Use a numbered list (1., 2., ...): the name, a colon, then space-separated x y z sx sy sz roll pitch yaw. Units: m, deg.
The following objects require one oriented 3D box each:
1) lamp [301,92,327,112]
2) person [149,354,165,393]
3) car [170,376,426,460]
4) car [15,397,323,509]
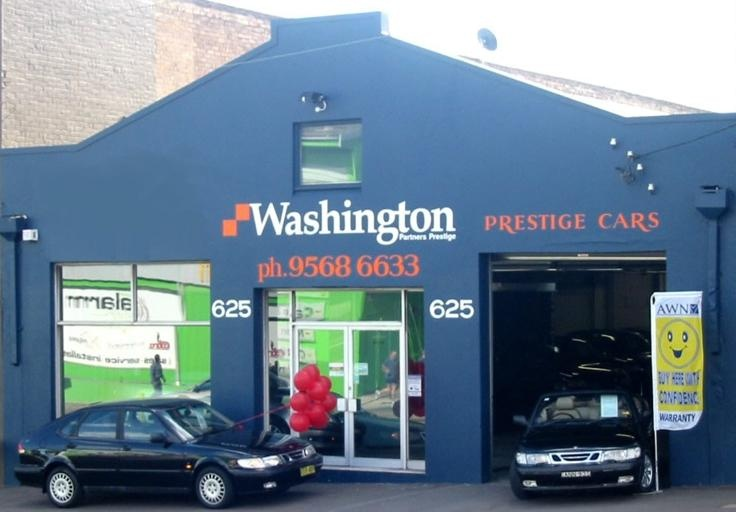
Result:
1. lamp: -1.194 -3.543 23.950 0.389 0.230 0.551 2 -1 22
2. person: -5.005 2.777 24.779 0.360 0.899 0.190 -2 10 1
3. car: -0.591 3.914 24.752 4.469 1.473 2.070 0 -1 10
4. car: -4.252 4.245 22.598 5.831 1.920 2.704 -2 -3 15
